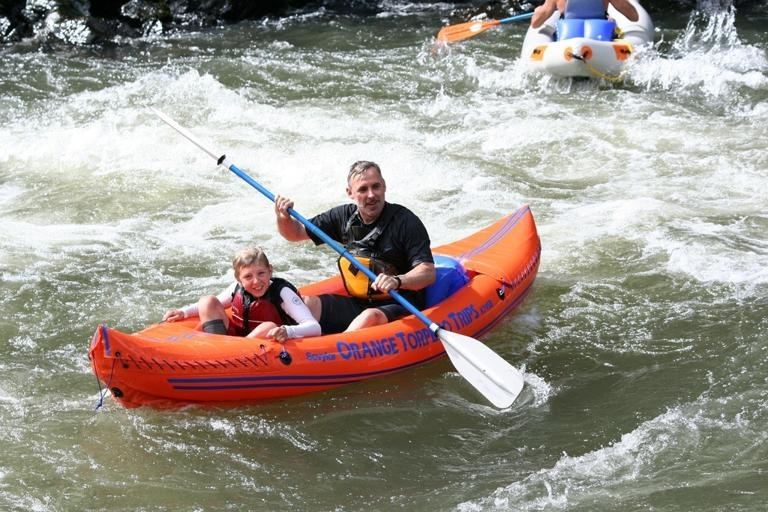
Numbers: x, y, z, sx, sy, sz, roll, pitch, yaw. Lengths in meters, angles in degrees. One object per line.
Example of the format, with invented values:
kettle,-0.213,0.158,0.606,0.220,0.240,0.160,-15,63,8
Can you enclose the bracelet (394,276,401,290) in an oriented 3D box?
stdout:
bracelet,0.124,0.220,10.257,0.032,0.086,0.103,2,0,-28

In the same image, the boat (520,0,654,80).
boat,2.799,-3.064,16.009,1.545,1.043,1.607,8,19,31

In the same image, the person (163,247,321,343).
person,-1.231,0.422,10.227,1.372,0.745,0.949,2,12,38

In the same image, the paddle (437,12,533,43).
paddle,1.394,-3.503,17.587,1.182,0.350,1.390,-1,15,4
